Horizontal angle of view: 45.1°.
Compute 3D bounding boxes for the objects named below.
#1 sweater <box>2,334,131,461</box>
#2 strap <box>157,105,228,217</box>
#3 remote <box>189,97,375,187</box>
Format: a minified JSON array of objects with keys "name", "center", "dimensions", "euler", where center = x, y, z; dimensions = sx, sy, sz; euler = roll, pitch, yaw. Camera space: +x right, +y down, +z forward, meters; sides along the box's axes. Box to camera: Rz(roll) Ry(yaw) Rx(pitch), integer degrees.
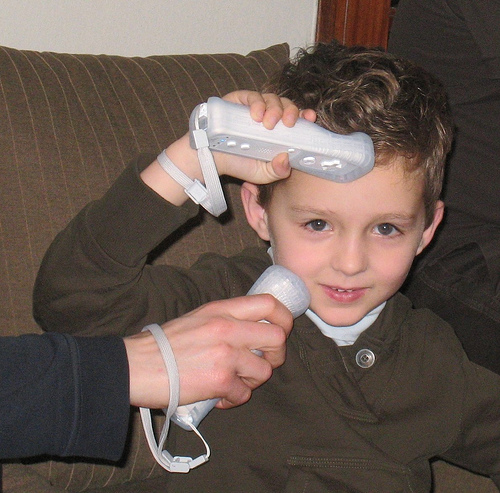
[{"name":"sweater","center":[-0.261,0.210,0.851],"dimensions":[0.186,0.164,0.145],"euler":[-12,50,-2]},{"name":"strap","center":[-0.092,-0.134,0.994],"dimensions":[0.169,0.110,0.048],"euler":[52,35,-1]},{"name":"remote","center":[0.090,-0.160,1.016],"dimensions":[0.359,0.098,0.103],"euler":[8,45,-15]}]
